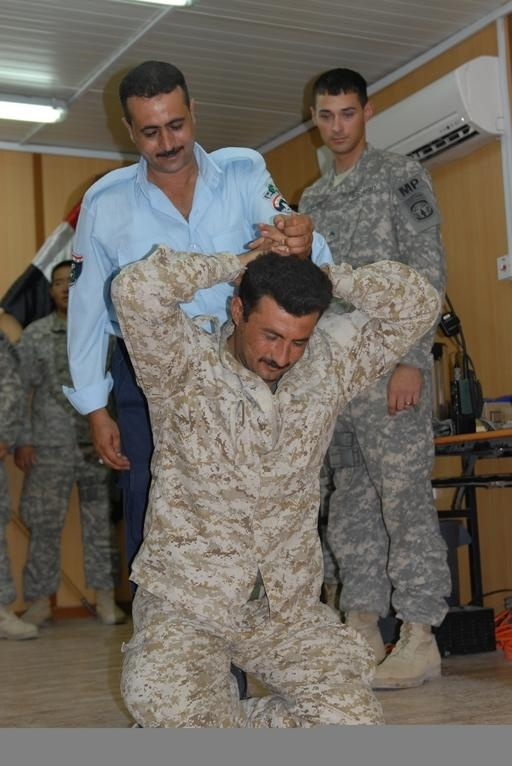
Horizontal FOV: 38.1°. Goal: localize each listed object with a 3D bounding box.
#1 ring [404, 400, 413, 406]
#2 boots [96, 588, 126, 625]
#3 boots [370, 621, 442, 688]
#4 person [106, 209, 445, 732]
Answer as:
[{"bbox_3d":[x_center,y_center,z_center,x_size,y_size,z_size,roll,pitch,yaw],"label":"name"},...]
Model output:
[{"bbox_3d":[0.509,0.066,2.430,0.017,0.017,0.014,6,-22,2],"label":"ring"},{"bbox_3d":[-0.947,1.409,4.658,0.252,0.212,0.154,1,-3,14],"label":"boots"},{"bbox_3d":[0.500,0.900,2.480,0.334,0.199,0.120,5,-13,-43],"label":"boots"},{"bbox_3d":[0.052,0.201,1.427,0.647,0.760,0.323,-3,-1,-18],"label":"person"}]
